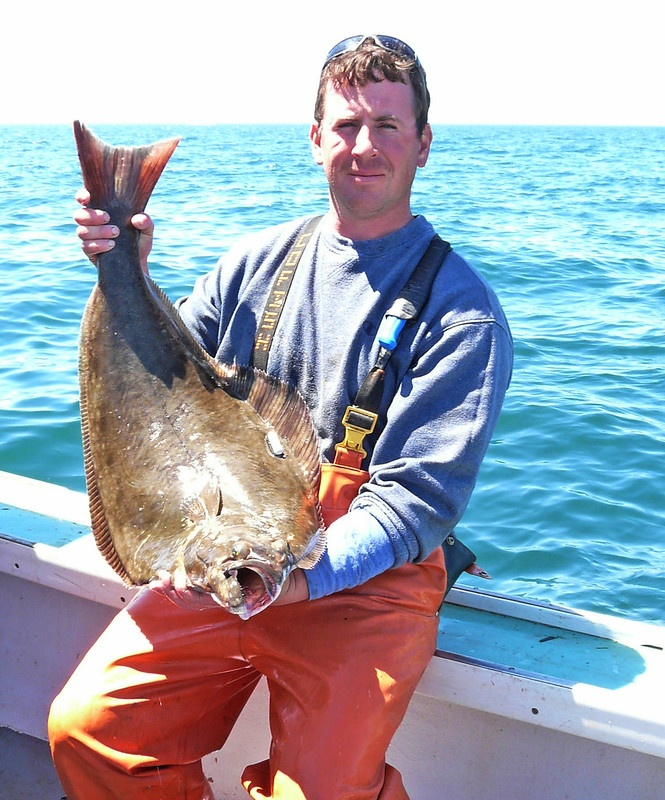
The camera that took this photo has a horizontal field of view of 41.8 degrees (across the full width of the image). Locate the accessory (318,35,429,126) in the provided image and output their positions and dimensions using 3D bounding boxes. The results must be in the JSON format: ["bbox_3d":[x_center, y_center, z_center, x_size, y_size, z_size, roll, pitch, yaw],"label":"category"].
[{"bbox_3d":[0.156,-0.983,2.646,0.343,0.126,0.346,5,0,5],"label":"accessory"}]
